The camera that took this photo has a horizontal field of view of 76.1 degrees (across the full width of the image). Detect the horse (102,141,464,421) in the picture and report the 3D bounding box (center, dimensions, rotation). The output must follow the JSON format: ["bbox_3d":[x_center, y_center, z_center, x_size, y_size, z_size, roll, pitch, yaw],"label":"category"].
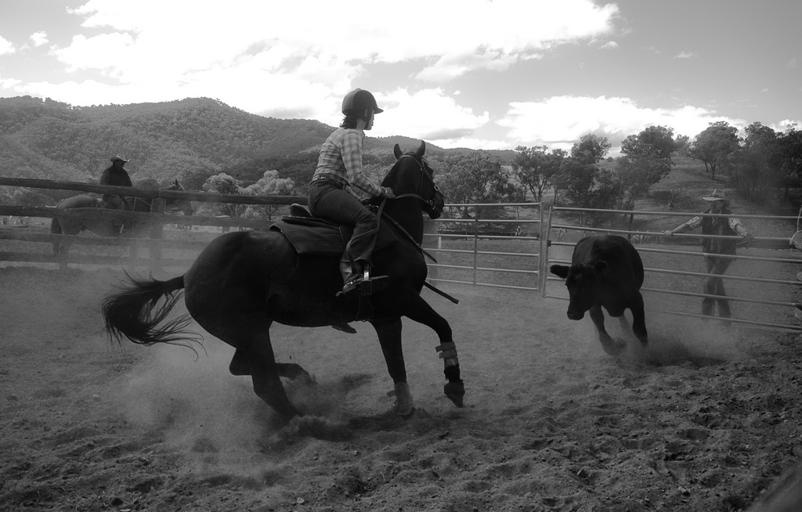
[{"bbox_3d":[-1.312,0.401,6.291,4.518,3.330,1.328,-4,3,-13],"label":"horse"}]

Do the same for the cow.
[{"bbox_3d":[3.267,0.582,8.057,1.144,1.648,1.380,2,11,26],"label":"cow"}]

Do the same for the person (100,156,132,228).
[{"bbox_3d":[-7.117,-1.487,12.894,0.812,1.881,0.927,-3,10,-27],"label":"person"}]

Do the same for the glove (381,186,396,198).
[{"bbox_3d":[-0.161,-0.765,6.249,0.130,0.065,0.168,5,28,-45],"label":"glove"}]
